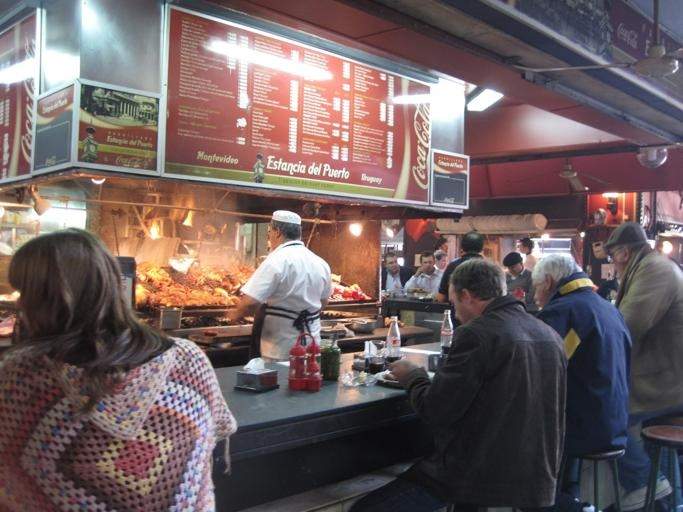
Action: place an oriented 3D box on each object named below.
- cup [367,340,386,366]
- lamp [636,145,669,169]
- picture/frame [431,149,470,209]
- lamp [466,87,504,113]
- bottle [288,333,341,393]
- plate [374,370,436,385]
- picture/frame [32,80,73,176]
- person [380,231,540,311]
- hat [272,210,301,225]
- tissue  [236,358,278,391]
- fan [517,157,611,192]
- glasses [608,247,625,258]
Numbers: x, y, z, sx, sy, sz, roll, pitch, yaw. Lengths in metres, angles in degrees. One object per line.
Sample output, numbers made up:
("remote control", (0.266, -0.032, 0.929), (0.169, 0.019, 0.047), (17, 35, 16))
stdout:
("cup", (0.232, 0.662, 3.993), (0.159, 0.145, 0.096), (-4, 6, -37))
("lamp", (3.542, -1.121, 6.726), (0.364, 0.226, 0.405), (3, 3, 18))
("picture/frame", (1.127, -0.742, 5.691), (0.212, 0.517, 0.567), (-9, 18, -25))
("lamp", (1.399, -1.555, 5.868), (0.282, 0.062, 0.247), (10, -23, -30))
("bottle", (-0.220, 0.666, 3.761), (0.318, 0.360, 0.393), (1, 1, 40))
("plate", (0.361, 0.720, 3.469), (0.228, 0.047, 0.218), (1, -3, -30))
("picture/frame", (-1.850, -0.796, 3.775), (0.721, 0.671, 0.033), (-2, -7, 44))
("person", (1.273, 0.384, 7.060), (1.225, 0.903, 1.596), (0, -1, 26))
("hat", (-0.447, -0.303, 4.554), (0.149, 0.067, 0.143), (2, 10, -31))
("tissue ", (-0.515, 0.719, 3.570), (0.262, 0.165, 0.254), (1, -1, -14))
("fan", (3.627, -1.307, 9.337), (0.816, 0.205, 0.853), (1, -1, -13))
("glasses", (2.263, -0.028, 4.834), (0.076, 0.022, 0.071), (-29, 1, 2))
